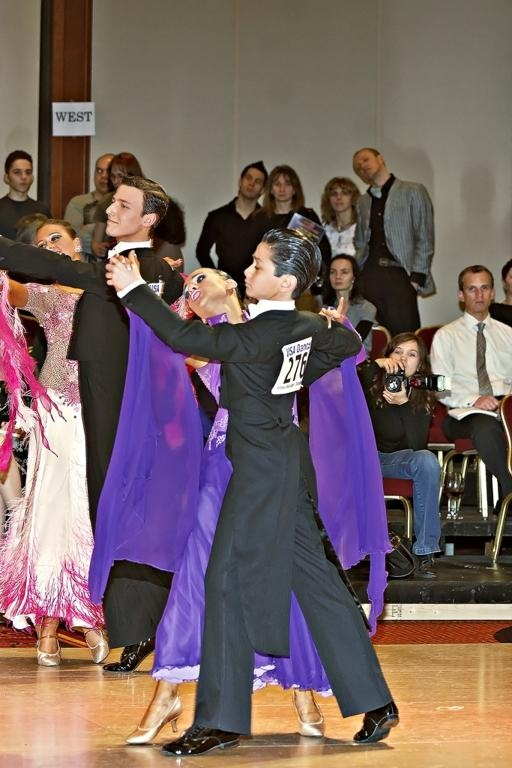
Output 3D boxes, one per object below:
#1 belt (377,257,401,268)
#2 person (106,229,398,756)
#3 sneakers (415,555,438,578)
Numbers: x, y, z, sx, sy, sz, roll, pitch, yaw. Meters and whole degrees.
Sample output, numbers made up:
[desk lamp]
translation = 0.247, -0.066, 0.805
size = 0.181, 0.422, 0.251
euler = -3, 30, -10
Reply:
[belt]
translation = 1.135, -1.047, 5.783
size = 0.143, 0.076, 0.033
euler = 6, -42, -5
[person]
translation = 0.004, 0.235, 1.545
size = 0.690, 1.164, 0.382
euler = 1, 2, -27
[sneakers]
translation = 0.955, 1.016, 3.764
size = 0.076, 0.085, 0.214
euler = 0, 0, 12
